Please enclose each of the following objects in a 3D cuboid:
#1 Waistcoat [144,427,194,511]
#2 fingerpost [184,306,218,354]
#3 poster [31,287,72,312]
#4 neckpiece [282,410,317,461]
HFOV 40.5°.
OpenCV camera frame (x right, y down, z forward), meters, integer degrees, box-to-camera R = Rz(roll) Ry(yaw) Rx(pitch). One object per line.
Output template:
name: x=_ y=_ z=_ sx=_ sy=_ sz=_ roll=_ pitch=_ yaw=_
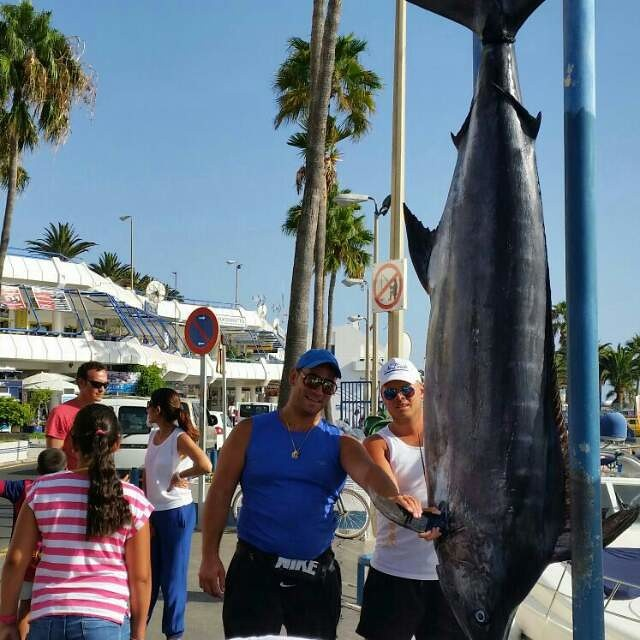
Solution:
Waistcoat: x=-0.975 y=0.889 z=5.332 sx=0.263 sy=0.492 sz=0.206 roll=-1 pitch=-6 yaw=33
fingerpost: x=-1.229 y=0.095 z=9.061 sx=0.295 sy=0.518 sz=0.726 roll=2 pitch=-5 yaw=-18
poster: x=-12.968 y=-1.088 z=41.669 sx=2.133 sy=1.105 sz=1.614 roll=4 pitch=-6 yaw=-37
neckpiece: x=-0.086 y=0.467 z=3.401 sx=0.116 sy=0.004 sz=0.194 roll=6 pitch=-53 yaw=-6
